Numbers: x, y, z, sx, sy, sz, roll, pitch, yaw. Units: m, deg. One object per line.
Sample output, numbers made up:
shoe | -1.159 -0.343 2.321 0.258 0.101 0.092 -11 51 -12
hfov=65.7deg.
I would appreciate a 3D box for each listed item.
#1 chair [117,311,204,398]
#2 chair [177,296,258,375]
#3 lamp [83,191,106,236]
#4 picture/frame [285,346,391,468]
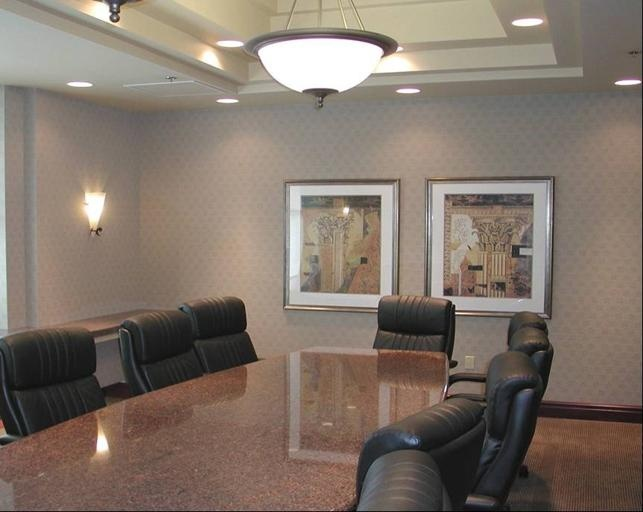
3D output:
chair | -0.935 0.499 2.946 0.453 0.539 0.441 11 6 33
chair | -0.690 0.541 3.497 0.515 0.587 0.416 -4 -1 45
lamp | -2.288 -0.436 5.099 0.156 0.449 0.308 2 2 6
picture/frame | 0.097 0.695 2.353 0.413 0.050 0.695 0 26 3
